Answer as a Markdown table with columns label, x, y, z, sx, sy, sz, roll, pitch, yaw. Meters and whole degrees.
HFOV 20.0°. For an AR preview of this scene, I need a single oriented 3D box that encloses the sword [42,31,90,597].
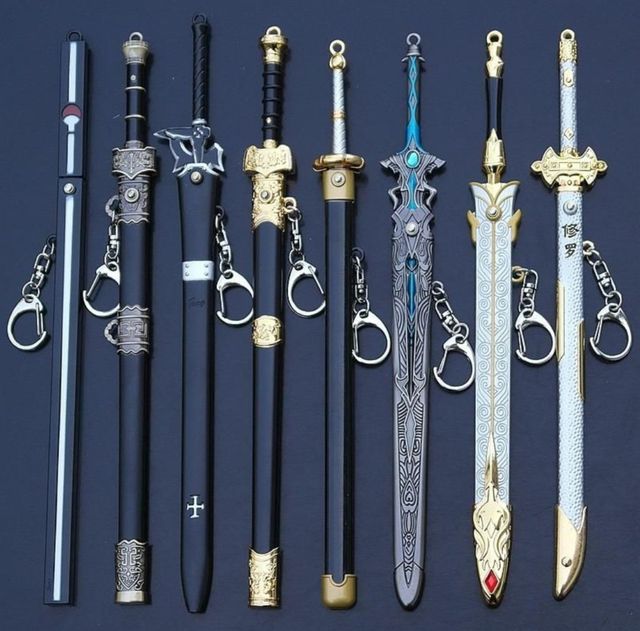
| label | x | y | z | sx | sy | sz | roll | pitch | yaw |
| --- | --- | --- | --- | --- | --- | --- | --- | --- | --- |
| sword | -0.708 | 0.033 | 5.050 | 0.096 | 1.402 | 0.091 | 1 | -10 | -9 |

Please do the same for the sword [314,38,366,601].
| label | x | y | z | sx | sy | sz | roll | pitch | yaw |
| --- | --- | --- | --- | --- | --- | --- | --- | --- | --- |
| sword | 0.060 | 0.163 | 4.967 | 0.139 | 1.193 | 0.405 | -2 | 11 | 3 |

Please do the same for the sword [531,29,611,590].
| label | x | y | z | sx | sy | sz | roll | pitch | yaw |
| --- | --- | --- | --- | --- | --- | --- | --- | --- | --- |
| sword | 0.683 | -0.028 | 5.005 | 0.199 | 1.487 | 0.550 | 0 | 12 | 10 |

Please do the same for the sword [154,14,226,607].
| label | x | y | z | sx | sy | sz | roll | pitch | yaw |
| --- | --- | --- | --- | --- | --- | --- | --- | --- | --- |
| sword | -0.329 | 0.126 | 5.037 | 0.177 | 1.278 | 0.463 | -3 | 12 | -4 |

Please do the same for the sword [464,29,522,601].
| label | x | y | z | sx | sy | sz | roll | pitch | yaw |
| --- | --- | --- | --- | --- | --- | --- | --- | --- | --- |
| sword | 0.480 | -0.015 | 5.007 | 0.145 | 1.504 | 0.546 | -1 | 12 | 6 |
